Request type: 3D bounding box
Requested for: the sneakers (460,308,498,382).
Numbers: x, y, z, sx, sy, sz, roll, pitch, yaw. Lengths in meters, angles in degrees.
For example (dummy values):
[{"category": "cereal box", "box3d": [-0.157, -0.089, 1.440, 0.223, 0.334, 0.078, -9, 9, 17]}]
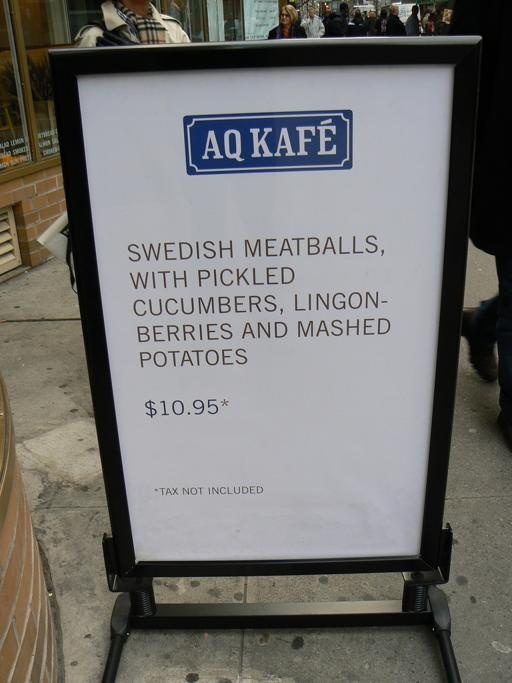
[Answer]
[{"category": "sneakers", "box3d": [1.282, 0.018, 3.485, 0.123, 0.403, 0.169, -16, -4, 7]}]
